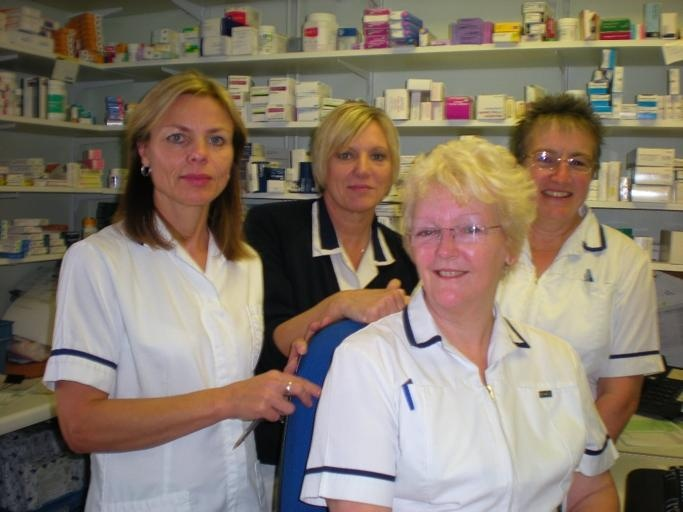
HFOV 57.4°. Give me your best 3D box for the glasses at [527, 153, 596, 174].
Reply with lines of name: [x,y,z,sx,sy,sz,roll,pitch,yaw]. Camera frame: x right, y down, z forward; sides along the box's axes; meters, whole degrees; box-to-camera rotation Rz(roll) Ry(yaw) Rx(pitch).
glasses: [0.862,-0.365,2.430,0.129,0.038,0.125,9,-9,7]

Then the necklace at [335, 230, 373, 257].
necklace: [0.048,-0.060,2.770,0.149,0.105,0.112,-6,7,-35]
